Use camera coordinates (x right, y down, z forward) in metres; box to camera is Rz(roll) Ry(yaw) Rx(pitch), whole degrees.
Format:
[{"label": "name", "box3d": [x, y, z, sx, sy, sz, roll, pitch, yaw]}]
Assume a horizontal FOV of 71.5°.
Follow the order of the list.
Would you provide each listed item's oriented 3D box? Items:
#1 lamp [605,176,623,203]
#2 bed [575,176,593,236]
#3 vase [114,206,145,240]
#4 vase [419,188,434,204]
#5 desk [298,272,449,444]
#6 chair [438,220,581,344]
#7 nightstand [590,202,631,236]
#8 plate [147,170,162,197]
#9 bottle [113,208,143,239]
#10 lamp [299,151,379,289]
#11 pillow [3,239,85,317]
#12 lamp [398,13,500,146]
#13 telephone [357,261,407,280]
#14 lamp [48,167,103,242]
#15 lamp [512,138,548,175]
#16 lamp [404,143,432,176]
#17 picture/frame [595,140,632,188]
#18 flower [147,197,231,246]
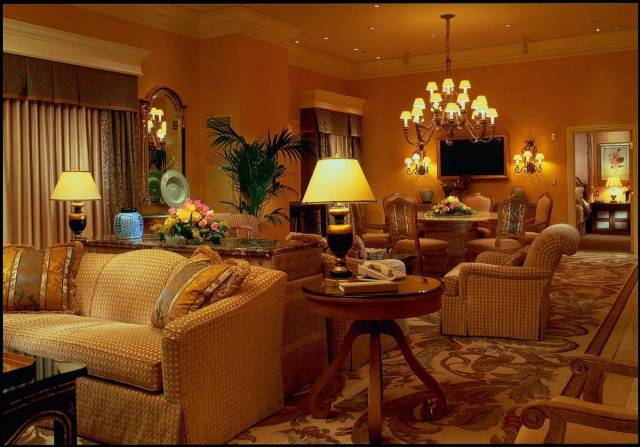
[{"label": "lamp", "box3d": [8.471, -0.995, 12.772, 0.400, 0.661, 0.264, -1, 6, 7]}, {"label": "bed", "box3d": [7.142, -0.468, 12.045, 0.408, 1.557, 2.399, 2, 7, 31]}, {"label": "vase", "box3d": [-1.800, 0.001, 4.236, 0.255, 0.269, 0.253, 0, 4, -1]}, {"label": "vase", "box3d": [2.324, -0.600, 9.805, 0.319, 0.329, 0.318, 1, -1, 1]}, {"label": "desk", "box3d": [0.336, 0.849, 3.070, 0.882, 0.806, 0.937, -1, -5, -3]}, {"label": "chair", "box3d": [1.856, 0.526, 4.682, 1.411, 1.197, 1.105, 0, 0, 23]}, {"label": "nightstand", "box3d": [8.266, -0.146, 12.364, 0.651, 0.867, 1.054, -8, 6, -26]}, {"label": "plate", "box3d": [-2.472, -0.583, 6.633, 0.324, 0.319, 0.102, -15, 13, -42]}, {"label": "bottle", "box3d": [-1.820, 0.009, 4.256, 0.285, 0.302, 0.287, 1, -7, 0]}, {"label": "lamp", "box3d": [0.141, -0.056, 3.219, 0.486, 0.821, 0.568, -1, 6, 4]}, {"label": "pillow", "box3d": [-2.184, 0.458, 3.515, 0.576, 0.452, 0.201, -2, -34, 1]}, {"label": "lamp", "box3d": [2.131, -2.400, 7.336, 1.420, 2.075, 1.513, 1, 6, 27]}, {"label": "telephone", "box3d": [0.380, 0.322, 2.985, 0.217, 0.078, 0.158, -5, -5, 28]}, {"label": "lamp", "box3d": [-2.565, -0.186, 4.706, 0.546, 0.638, 0.513, -3, 1, -37]}, {"label": "lamp", "box3d": [4.298, -1.356, 9.136, 0.574, 0.719, 0.220, 1, 7, 24]}, {"label": "lamp", "box3d": [2.235, -1.407, 9.956, 0.465, 0.780, 0.633, -8, 8, -35]}, {"label": "picture/frame", "box3d": [8.428, -1.705, 12.758, 0.785, 1.167, 0.280, 2, 7, 30]}, {"label": "flower", "box3d": [-1.107, -0.006, 3.868, 0.502, 0.339, 0.533, 21, -13, -33]}]
